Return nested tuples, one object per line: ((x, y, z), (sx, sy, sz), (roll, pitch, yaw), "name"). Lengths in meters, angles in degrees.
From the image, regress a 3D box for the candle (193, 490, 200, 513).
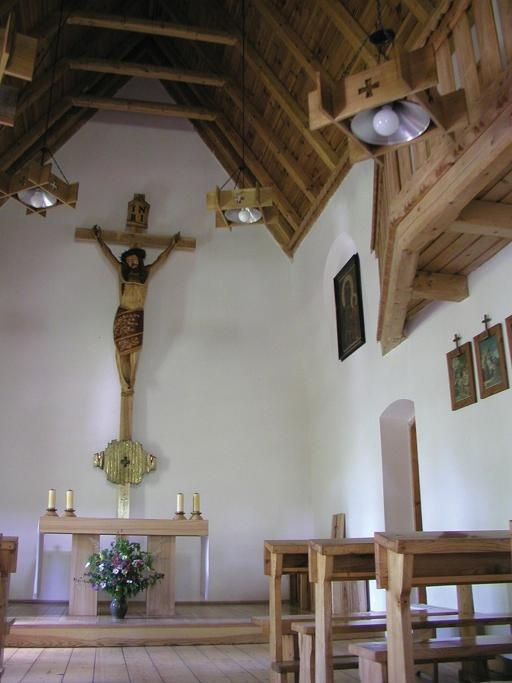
((-0.557, 1.522, 5.354), (0.059, 0.180, 0.182), (1, -14, -10), "candle")

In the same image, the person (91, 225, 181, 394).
((-1.558, -0.402, 7.083), (0.868, 2.072, 0.239), (1, -13, -10), "person")

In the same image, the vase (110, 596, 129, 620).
((-1.088, 2.134, 4.562), (0.116, 0.189, 0.232), (2, -14, -14), "vase")

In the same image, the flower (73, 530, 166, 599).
((-1.102, 1.804, 4.689), (0.564, 0.519, 0.589), (0, -7, 15), "flower")

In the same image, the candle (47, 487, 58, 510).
((-1.808, 1.426, 5.099), (0.062, 0.185, 0.222), (3, -15, -20), "candle")

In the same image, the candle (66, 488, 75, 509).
((-1.702, 1.465, 5.242), (0.050, 0.177, 0.128), (2, -14, -14), "candle")

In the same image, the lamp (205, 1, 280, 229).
((-0.189, -2.275, 6.419), (0.639, 2.450, 1.688), (-1, -14, -1), "lamp")
